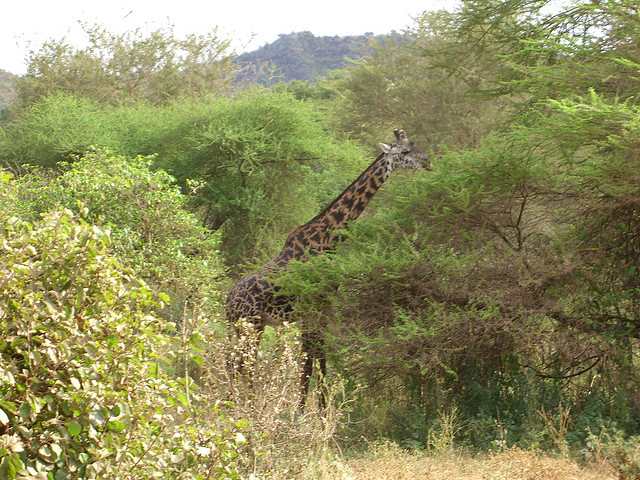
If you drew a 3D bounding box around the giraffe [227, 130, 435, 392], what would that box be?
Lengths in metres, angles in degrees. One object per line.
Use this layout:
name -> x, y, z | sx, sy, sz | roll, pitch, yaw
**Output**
giraffe -> 0.086, 0.128, 11.678 | 2.863, 3.629, 1.135 | -9, -28, 36
